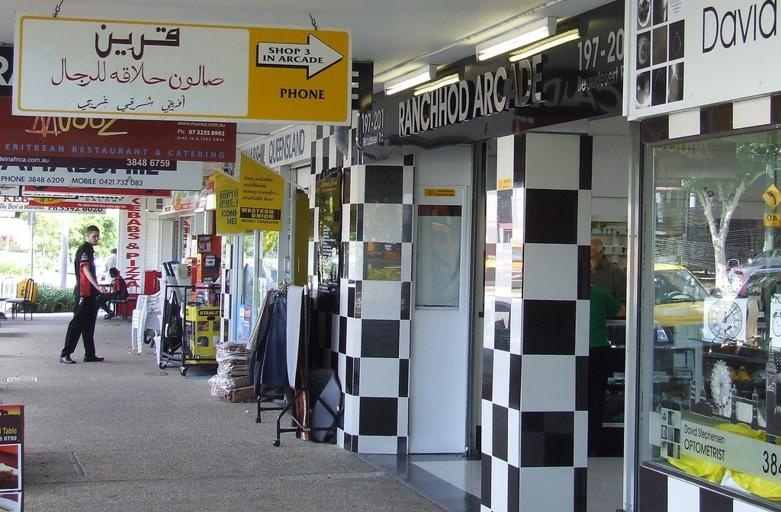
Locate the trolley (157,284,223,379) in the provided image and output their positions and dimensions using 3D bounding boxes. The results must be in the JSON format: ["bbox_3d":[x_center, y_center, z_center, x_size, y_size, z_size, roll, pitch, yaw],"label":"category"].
[{"bbox_3d":[-2.972,1.091,10.882,0.717,1.188,0.904,0,-5,42],"label":"trolley"}]

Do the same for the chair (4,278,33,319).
[{"bbox_3d":[-9.960,1.144,19.038,0.682,1.049,2.092,3,0,-26],"label":"chair"}]

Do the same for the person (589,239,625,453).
[{"bbox_3d":[2.131,0.893,6.987,0.332,2.126,0.988,2,-1,18],"label":"person"}]

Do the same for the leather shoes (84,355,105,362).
[{"bbox_3d":[-4.758,1.625,11.332,0.308,0.131,0.110,0,1,-20],"label":"leather shoes"}]

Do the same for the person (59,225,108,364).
[{"bbox_3d":[-4.876,0.589,11.252,0.640,2.074,1.290,3,-1,-23],"label":"person"}]

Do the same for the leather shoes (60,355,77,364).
[{"bbox_3d":[-5.109,1.617,11.152,0.237,0.122,0.126,2,-1,-16],"label":"leather shoes"}]
